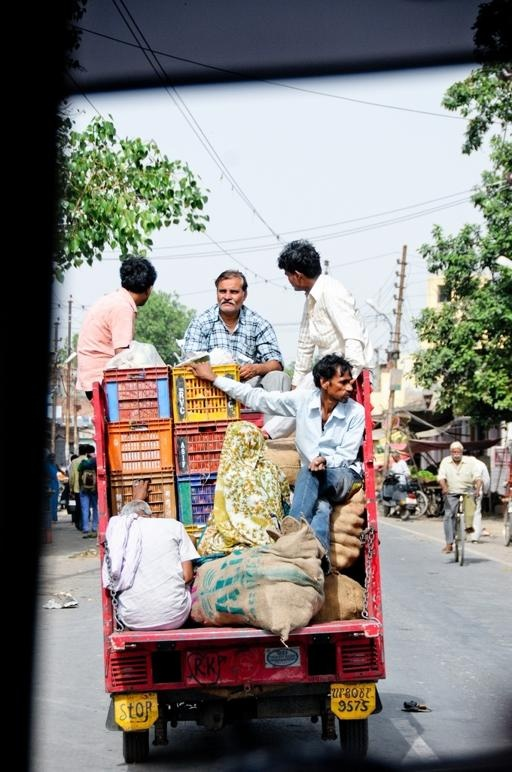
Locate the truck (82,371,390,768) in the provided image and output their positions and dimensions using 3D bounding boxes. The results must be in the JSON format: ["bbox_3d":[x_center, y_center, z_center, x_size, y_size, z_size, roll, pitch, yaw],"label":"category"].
[{"bbox_3d":[-0.082,1.162,5.134,1.256,1.487,2.354,-2,-13,-1],"label":"truck"}]

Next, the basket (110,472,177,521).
[{"bbox_3d":[-0.611,0.596,4.927,0.285,0.165,0.279,1,-6,-5],"label":"basket"}]

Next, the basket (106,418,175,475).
[{"bbox_3d":[-0.638,0.343,4.864,0.321,0.222,0.316,-2,-10,2],"label":"basket"}]

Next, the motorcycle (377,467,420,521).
[{"bbox_3d":[4.309,3.410,27.880,0.859,1.120,1.763,6,3,-10],"label":"motorcycle"}]

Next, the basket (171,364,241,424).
[{"bbox_3d":[-0.315,0.069,5.195,0.358,0.217,0.351,-1,-8,0],"label":"basket"}]

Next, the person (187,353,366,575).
[{"bbox_3d":[0.073,0.407,5.042,0.952,1.197,0.753,-1,-3,26],"label":"person"}]

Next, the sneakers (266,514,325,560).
[{"bbox_3d":[0.179,0.700,4.194,0.126,0.151,0.364,2,4,-1],"label":"sneakers"}]

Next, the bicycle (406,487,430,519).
[{"bbox_3d":[4.917,3.534,27.568,0.988,0.922,0.352,-4,-7,5],"label":"bicycle"}]

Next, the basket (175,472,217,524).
[{"bbox_3d":[-0.342,0.604,5.020,0.314,0.291,0.245,-1,-4,-3],"label":"basket"}]

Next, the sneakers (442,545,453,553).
[{"bbox_3d":[3.281,2.809,15.506,0.102,0.128,0.298,2,3,-14],"label":"sneakers"}]
